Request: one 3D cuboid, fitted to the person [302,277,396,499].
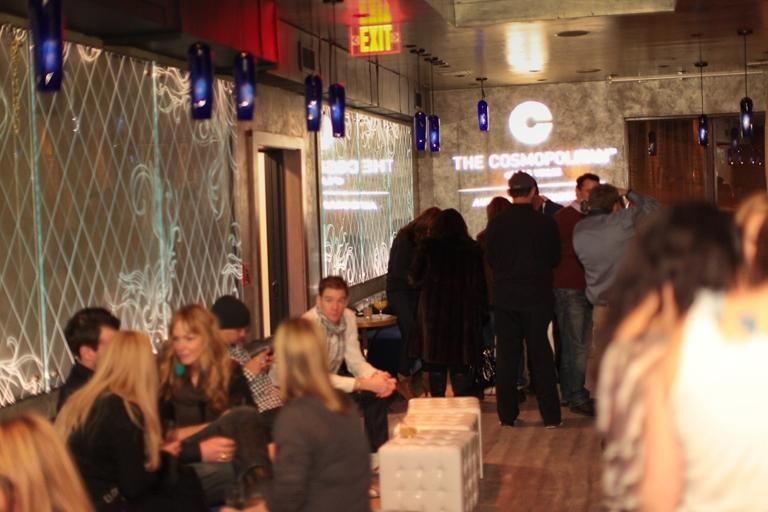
[{"bbox_3d":[-0.256,0.915,5.466,0.772,1.384,0.439,9,20,30],"label":"person"}]

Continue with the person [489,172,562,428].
[{"bbox_3d":[1.218,0.527,6.203,0.615,1.488,0.282,-3,1,9],"label":"person"}]

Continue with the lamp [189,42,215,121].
[{"bbox_3d":[-1.046,-1.021,4.164,0.129,0.416,0.176,-3,1,-14],"label":"lamp"}]

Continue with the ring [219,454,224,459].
[{"bbox_3d":[-0.922,1.139,4.112,0.019,0.027,0.009,-1,-5,-5],"label":"ring"}]

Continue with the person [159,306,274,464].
[{"bbox_3d":[-1.004,0.797,4.319,0.494,0.857,0.708,4,14,42],"label":"person"}]

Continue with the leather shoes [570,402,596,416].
[{"bbox_3d":[1.804,1.401,6.587,0.200,0.093,0.095,-5,1,17],"label":"leather shoes"}]

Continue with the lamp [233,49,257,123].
[{"bbox_3d":[-0.850,-1.062,4.465,0.121,0.386,0.172,-3,1,-10],"label":"lamp"}]

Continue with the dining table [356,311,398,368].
[{"bbox_3d":[0.004,0.950,7.902,0.556,0.660,0.556,-1,-2,-16],"label":"dining table"}]

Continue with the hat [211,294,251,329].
[{"bbox_3d":[-1.043,0.380,4.994,0.222,0.199,0.219,15,-1,1],"label":"hat"}]

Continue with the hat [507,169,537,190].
[{"bbox_3d":[1.222,-0.677,6.405,0.148,0.187,0.210,2,15,11],"label":"hat"}]
